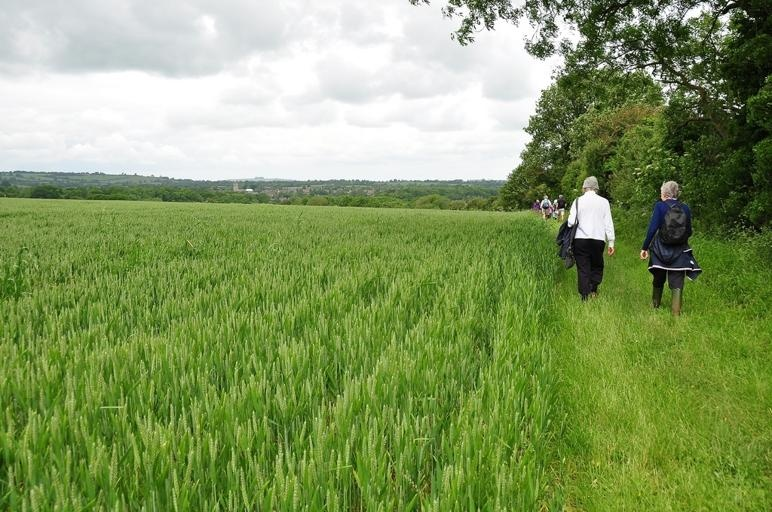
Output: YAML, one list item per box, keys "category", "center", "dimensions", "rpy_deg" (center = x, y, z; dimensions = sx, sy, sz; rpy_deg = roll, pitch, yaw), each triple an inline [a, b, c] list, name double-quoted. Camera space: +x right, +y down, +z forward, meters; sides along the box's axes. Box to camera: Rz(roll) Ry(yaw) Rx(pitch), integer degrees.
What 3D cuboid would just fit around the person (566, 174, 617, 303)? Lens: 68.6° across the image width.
- category: "person"
  center: [3.888, -0.342, 10.699]
  dimensions: [0.873, 2.240, 0.771]
  rpy_deg: [-3, 12, -38]
